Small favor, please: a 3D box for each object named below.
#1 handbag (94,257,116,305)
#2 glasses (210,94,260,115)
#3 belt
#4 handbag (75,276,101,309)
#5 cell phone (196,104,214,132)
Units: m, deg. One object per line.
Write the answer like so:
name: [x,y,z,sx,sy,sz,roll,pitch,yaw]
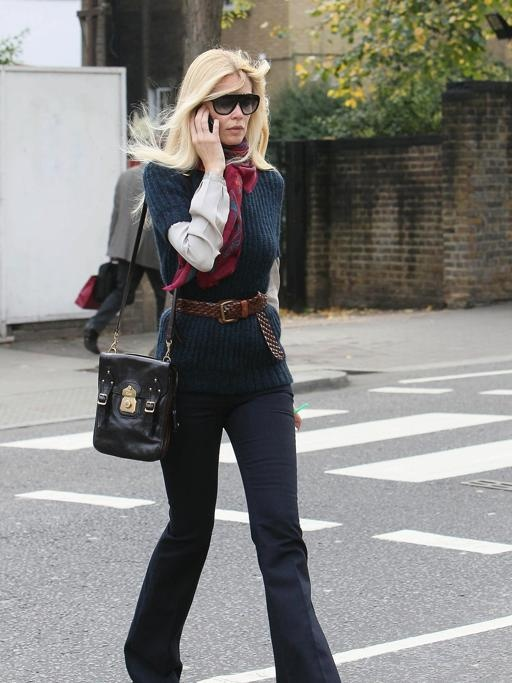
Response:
handbag: [-1.643,-0.648,10.063,0.210,0.472,0.219,0,4,23]
glasses: [-0.049,-0.595,2.321,0.092,0.028,0.090,-5,8,-35]
belt: [-0.067,-0.042,2.247,0.238,0.129,0.169,-4,6,-1]
handbag: [-1.898,-0.554,10.351,0.249,0.388,0.409,24,8,-3]
cell phone: [-0.120,-0.568,2.313,0.027,0.068,0.053,-19,12,-9]
